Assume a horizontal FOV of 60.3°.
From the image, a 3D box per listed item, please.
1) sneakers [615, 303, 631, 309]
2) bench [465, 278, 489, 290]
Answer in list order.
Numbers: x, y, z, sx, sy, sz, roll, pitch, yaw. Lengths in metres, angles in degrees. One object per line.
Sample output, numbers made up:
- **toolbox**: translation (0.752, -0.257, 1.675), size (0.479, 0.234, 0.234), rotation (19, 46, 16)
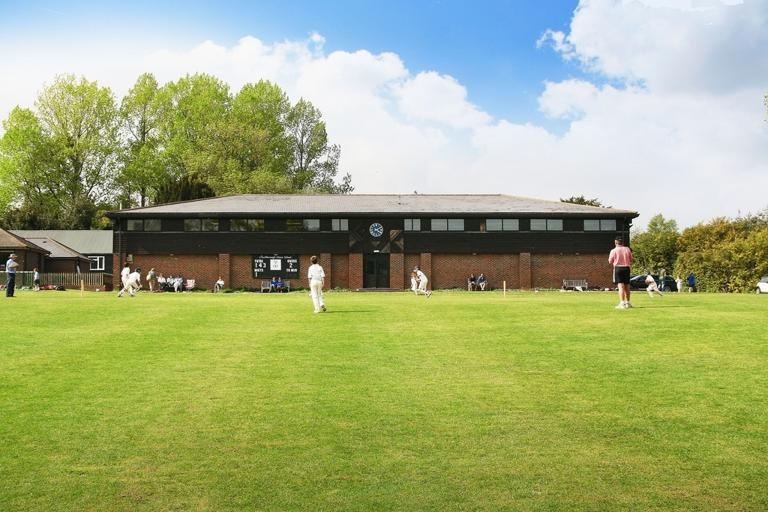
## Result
- **sneakers**: translation (7.712, 1.607, 21.373), size (0.215, 0.235, 0.568), rotation (2, 1, -5)
- **bench**: translation (7.509, 2.232, 53.226), size (1.781, 1.153, 0.918), rotation (0, 7, 5)
